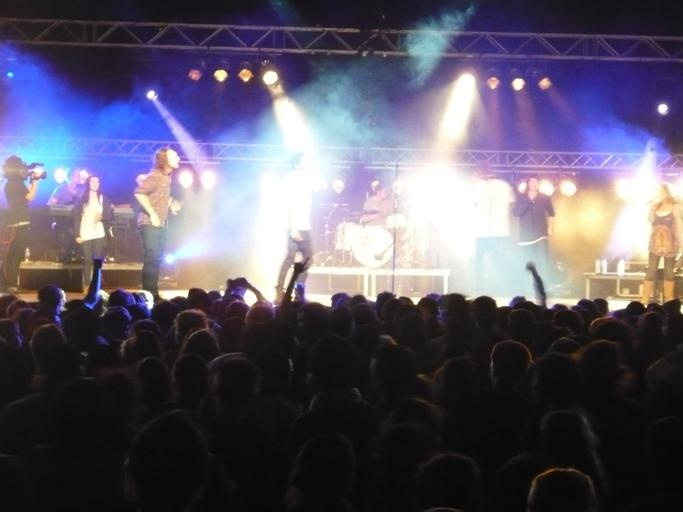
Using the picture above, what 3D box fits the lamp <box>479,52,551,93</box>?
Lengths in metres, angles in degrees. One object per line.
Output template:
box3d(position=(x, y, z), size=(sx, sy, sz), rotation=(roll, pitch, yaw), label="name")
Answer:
box3d(position=(2.895, -3.097, 12.183), size=(1.093, 0.458, 0.379), rotation=(0, 15, 3), label="lamp")

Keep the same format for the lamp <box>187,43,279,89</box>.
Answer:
box3d(position=(-1.807, -3.221, 11.891), size=(1.478, 0.571, 0.266), rotation=(4, -27, 5), label="lamp")

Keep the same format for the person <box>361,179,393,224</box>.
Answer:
box3d(position=(0.721, -1.074, 14.158), size=(0.611, 1.004, 1.089), rotation=(5, -3, 5), label="person")

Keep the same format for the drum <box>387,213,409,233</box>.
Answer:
box3d(position=(1.042, -0.650, 13.609), size=(0.424, 0.391, 0.779), rotation=(6, -3, 3), label="drum")
